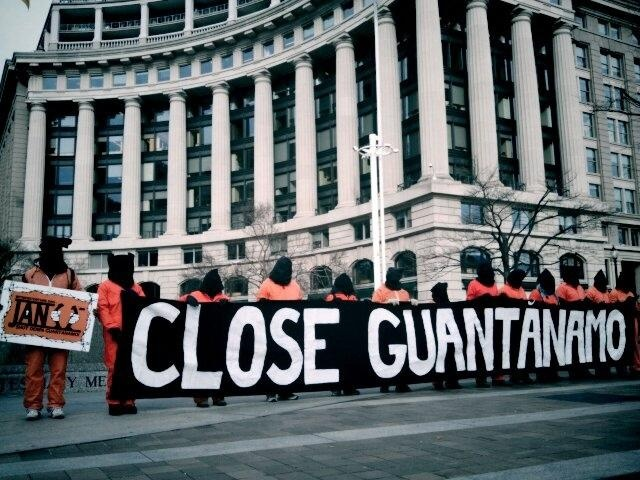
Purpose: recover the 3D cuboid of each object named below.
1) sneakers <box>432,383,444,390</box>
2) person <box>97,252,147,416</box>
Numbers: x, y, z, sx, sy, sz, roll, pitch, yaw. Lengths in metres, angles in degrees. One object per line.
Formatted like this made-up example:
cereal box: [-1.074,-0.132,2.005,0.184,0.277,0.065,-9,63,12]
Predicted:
sneakers: [3.503,4.379,23.564,0.259,0.166,0.226,1,5,7]
person: [-5.415,2.515,21.123,1.149,4.202,1.514,-2,8,-8]
